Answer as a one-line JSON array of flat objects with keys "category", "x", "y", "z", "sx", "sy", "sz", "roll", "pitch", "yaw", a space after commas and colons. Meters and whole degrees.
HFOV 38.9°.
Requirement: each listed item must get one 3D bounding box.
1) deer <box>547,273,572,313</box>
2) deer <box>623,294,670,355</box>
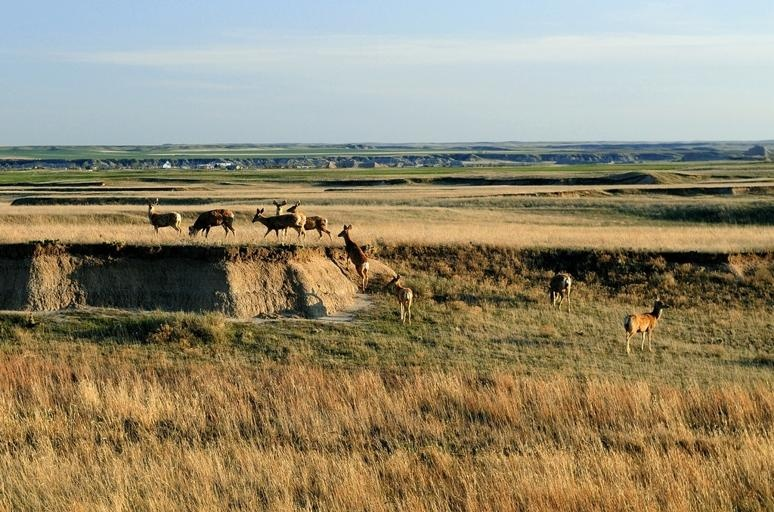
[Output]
[{"category": "deer", "x": 7.817, "y": 1.688, "z": 50.316, "sx": 0.509, "sy": 1.655, "sz": 2.103, "roll": 2, "pitch": -7, "yaw": -19}, {"category": "deer", "x": 10.666, "y": 3.097, "z": 45.431, "sx": 1.516, "sy": 2.025, "sz": 3.590, "roll": -2, "pitch": -4, "yaw": 16}]
